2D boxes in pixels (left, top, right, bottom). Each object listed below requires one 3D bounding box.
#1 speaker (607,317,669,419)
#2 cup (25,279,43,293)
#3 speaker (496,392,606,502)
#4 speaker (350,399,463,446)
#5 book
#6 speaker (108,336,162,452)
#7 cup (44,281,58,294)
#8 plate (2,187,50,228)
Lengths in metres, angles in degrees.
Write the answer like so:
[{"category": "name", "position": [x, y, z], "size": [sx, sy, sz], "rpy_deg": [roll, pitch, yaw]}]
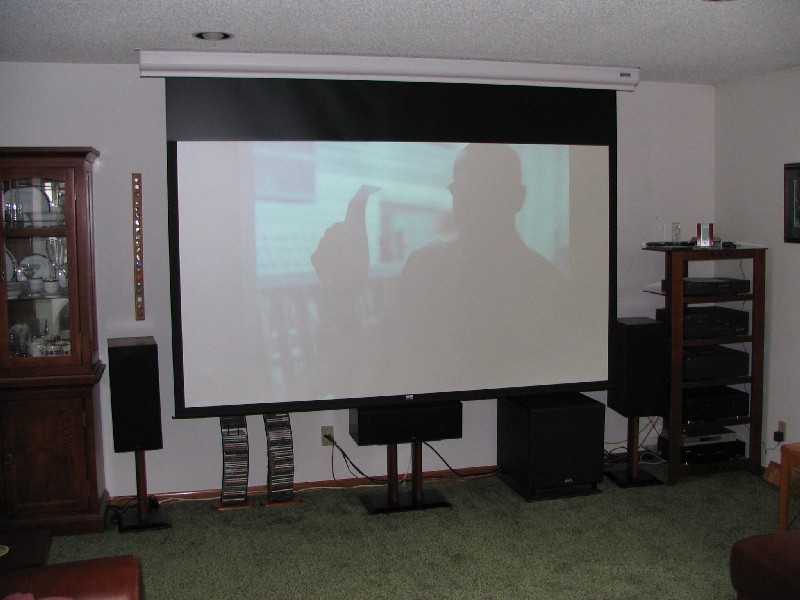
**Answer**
[{"category": "speaker", "position": [1.776, 0.514, 5.065], "size": [0.440, 0.691, 0.230], "rpy_deg": [4, 13, 19]}, {"category": "cup", "position": [-2.390, -0.090, 4.460], "size": [0.089, 0.072, 0.073], "rpy_deg": [2, 3, 10]}, {"category": "speaker", "position": [1.039, 0.978, 5.147], "size": [0.698, 0.784, 0.715], "rpy_deg": [-2, 9, -11]}, {"category": "speaker", "position": [0.051, 0.855, 4.734], "size": [0.765, 0.246, 0.181], "rpy_deg": [-1, 13, -4]}, {"category": "book", "position": [-1.034, 1.114, 4.826], "size": [0.617, 0.779, 0.246], "rpy_deg": [-1, 2, -17]}, {"category": "speaker", "position": [-1.715, 0.635, 4.417], "size": [0.306, 0.694, 0.141], "rpy_deg": [-6, 13, -23]}, {"category": "cup", "position": [-2.291, -0.085, 4.478], "size": [0.080, 0.074, 0.082], "rpy_deg": [2, 0, 0]}, {"category": "plate", "position": [-2.426, -0.613, 4.398], "size": [0.242, 0.251, 0.033], "rpy_deg": [0, 8, -12]}]
